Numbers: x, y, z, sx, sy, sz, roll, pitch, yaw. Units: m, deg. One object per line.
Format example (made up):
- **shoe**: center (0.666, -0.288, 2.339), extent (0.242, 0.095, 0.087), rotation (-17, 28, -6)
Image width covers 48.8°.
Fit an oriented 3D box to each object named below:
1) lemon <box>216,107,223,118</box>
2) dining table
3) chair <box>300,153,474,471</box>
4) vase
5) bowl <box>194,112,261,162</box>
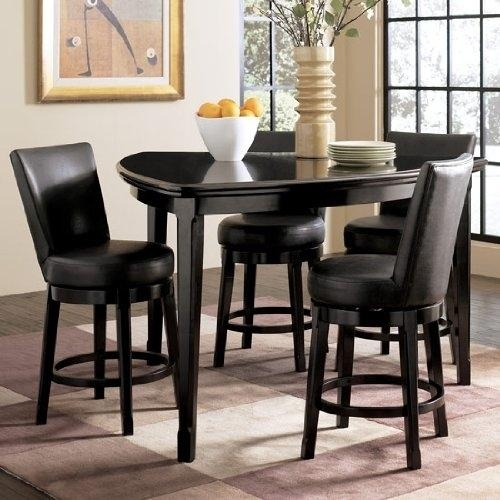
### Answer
- **lemon**: center (-0.119, -0.539, 2.147), extent (0.018, 0.041, 0.022), rotation (-1, 5, -4)
- **dining table**: center (0.010, -0.076, 2.109), extent (1.379, 0.872, 1.163), rotation (-4, 10, -31)
- **chair**: center (0.418, 0.172, 1.687), extent (0.463, 0.917, 0.444), rotation (1, 6, 21)
- **vase**: center (0.270, -0.621, 2.310), extent (0.172, 0.476, 0.295), rotation (0, 5, 7)
- **bowl**: center (-0.078, -0.455, 2.237), extent (0.278, 0.178, 0.258), rotation (2, 5, 0)
